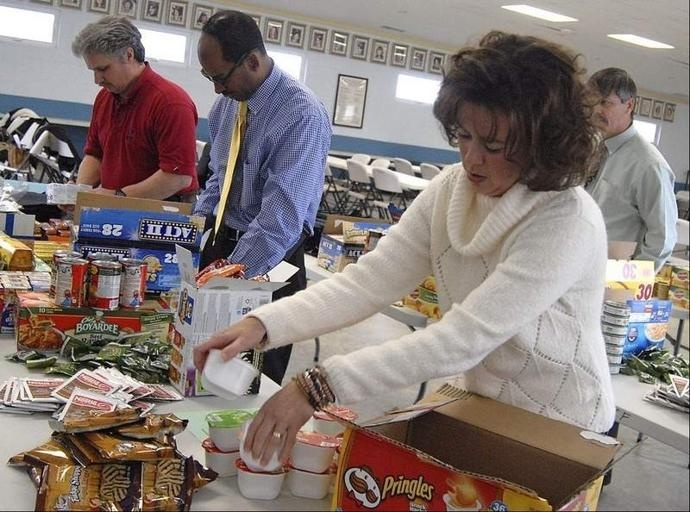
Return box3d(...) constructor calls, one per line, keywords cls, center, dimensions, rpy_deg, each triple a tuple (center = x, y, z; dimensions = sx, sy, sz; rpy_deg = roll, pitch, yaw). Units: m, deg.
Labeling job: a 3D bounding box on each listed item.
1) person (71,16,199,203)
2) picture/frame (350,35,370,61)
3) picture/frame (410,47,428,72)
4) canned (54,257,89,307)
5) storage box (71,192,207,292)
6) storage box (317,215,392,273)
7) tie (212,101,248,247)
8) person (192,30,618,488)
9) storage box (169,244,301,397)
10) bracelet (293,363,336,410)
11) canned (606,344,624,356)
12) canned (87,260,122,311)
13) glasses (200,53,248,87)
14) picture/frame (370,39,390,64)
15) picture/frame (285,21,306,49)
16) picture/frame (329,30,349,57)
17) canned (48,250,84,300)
box3d(cls="person", center=(-1.156, -0.790, 2.812), dimensions=(0.760, 0.928, 0.428), rpy_deg=(8, 7, 22))
box3d(cls="picture/frame", center=(0.285, -4.163, 10.394), dimensions=(0.408, 0.425, 0.044), rpy_deg=(-11, 29, -24))
box3d(cls="picture/frame", center=(1.425, -3.784, 10.010), dimensions=(0.336, 0.421, 0.054), rpy_deg=(12, 53, 9))
box3d(cls="canned", center=(-0.760, 0.068, 1.443), dimensions=(0.081, 0.135, 0.079), rpy_deg=(6, 12, -28))
box3d(cls="storage box", center=(-0.593, -0.015, 1.711), dimensions=(0.419, 0.292, 0.252), rpy_deg=(1, 8, 20))
box3d(cls="storage box", center=(0.087, -0.057, 3.496), dimensions=(0.415, 0.385, 0.294), rpy_deg=(4, 12, -28))
box3d(cls="tie", center=(-0.493, -0.343, 2.257), dimensions=(0.072, 0.684, 0.048), rpy_deg=(19, 6, 31))
box3d(cls="person", center=(0.259, -0.192, 1.783), dimensions=(1.115, 1.664, 0.649), rpy_deg=(2, 13, -16))
box3d(cls="storage box", center=(-0.300, 0.165, 1.382), dimensions=(0.311, 0.344, 0.215), rpy_deg=(3, 3, -39))
box3d(cls="bracelet", center=(-0.047, 0.239, 0.982), dimensions=(0.078, 0.078, 0.030), rpy_deg=(53, 19, 9))
box3d(cls="canned", center=(0.940, 0.323, 1.824), dimensions=(0.053, 0.038, 0.052), rpy_deg=(-4, 8, -27))
box3d(cls="canned", center=(-0.664, 0.082, 1.442), dimensions=(0.086, 0.137, 0.070), rpy_deg=(3, 7, -26))
box3d(cls="glasses", center=(-0.465, -0.733, 2.036), dimensions=(0.135, 0.138, 0.037), rpy_deg=(37, -4, 42))
box3d(cls="picture/frame", center=(0.694, -4.136, 10.564), dimensions=(0.307, 0.382, 0.130), rpy_deg=(8, 17, 4))
box3d(cls="picture/frame", center=(-0.951, -4.200, 9.888), dimensions=(0.467, 0.464, 0.037), rpy_deg=(-9, 26, -32))
box3d(cls="picture/frame", center=(-0.125, -4.178, 10.215), dimensions=(0.478, 0.524, 0.052), rpy_deg=(-1, 32, -11))
box3d(cls="canned", center=(-0.763, 0.062, 1.446), dimensions=(0.085, 0.142, 0.084), rpy_deg=(2, 22, -34))
